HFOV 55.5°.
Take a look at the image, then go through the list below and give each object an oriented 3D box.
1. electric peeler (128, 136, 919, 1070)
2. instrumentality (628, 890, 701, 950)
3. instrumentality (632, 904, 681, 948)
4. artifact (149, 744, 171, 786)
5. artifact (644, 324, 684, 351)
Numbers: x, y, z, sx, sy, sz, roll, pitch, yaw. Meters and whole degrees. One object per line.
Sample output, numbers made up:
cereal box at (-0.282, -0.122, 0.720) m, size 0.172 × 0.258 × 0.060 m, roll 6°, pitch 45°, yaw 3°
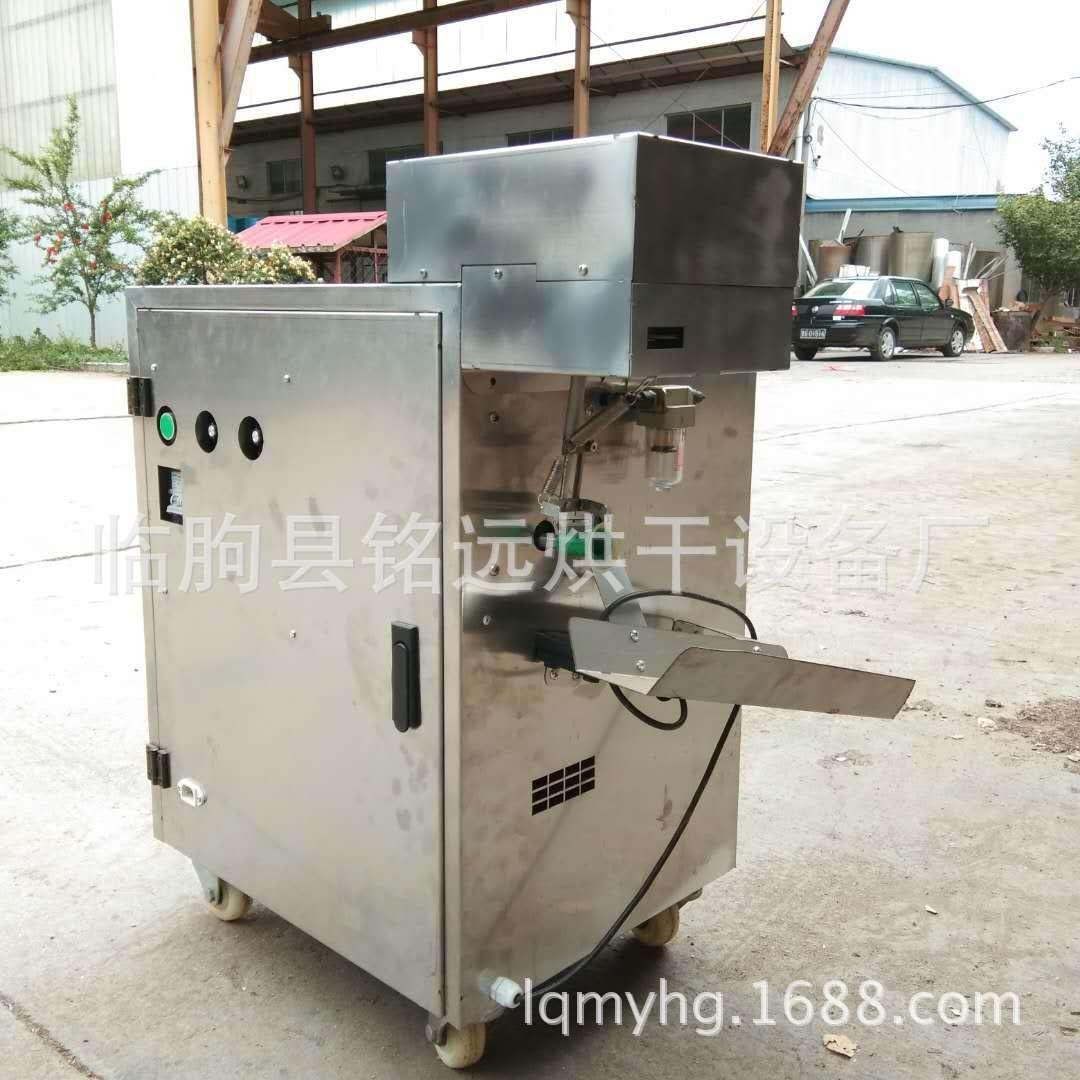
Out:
electric peeler at (0.097, -0.163, 2.198) m, size 0.902 × 1.714 × 1.667 m, roll -12°, pitch 22°, yaw -42°
instrumentality at (0.239, 0.739, 1.993) m, size 0.121 × 0.035 × 0.125 m, roll -27°, pitch 5°, yaw 47°
instrumentality at (0.224, 0.749, 1.983) m, size 0.029 × 0.098 × 0.093 m, roll 17°, pitch -10°, yaw -6°
artifact at (-0.735, 0.432, 1.993) m, size 0.032 × 0.082 × 0.083 m, roll -1°, pitch 0°, yaw -40°
artifact at (0.149, -0.238, 1.218) m, size 0.048 × 0.035 × 0.011 m, roll -3°, pitch 5°, yaw -40°
